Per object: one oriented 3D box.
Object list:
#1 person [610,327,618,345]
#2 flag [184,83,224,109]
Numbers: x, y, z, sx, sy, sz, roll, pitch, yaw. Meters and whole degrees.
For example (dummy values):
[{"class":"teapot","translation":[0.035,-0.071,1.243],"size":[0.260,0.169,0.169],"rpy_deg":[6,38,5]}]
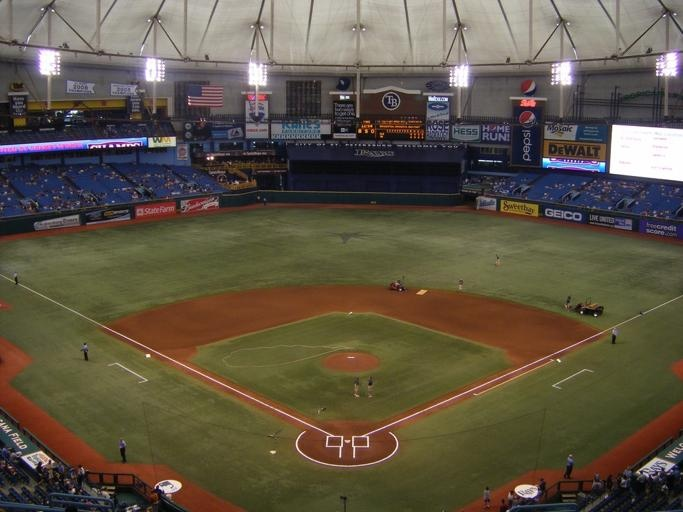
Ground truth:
[{"class":"person","translation":[19.535,5.683,50.337],"size":[0.390,0.935,1.341],"rpy_deg":[2,9,18]},{"class":"flag","translation":[-18.772,-21.854,94.833],"size":[5.467,2.441,0.312],"rpy_deg":[-1,4,-17]}]
